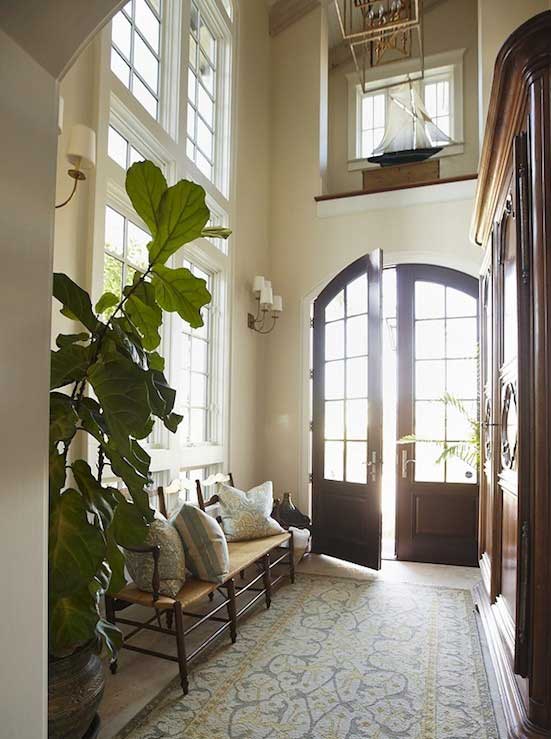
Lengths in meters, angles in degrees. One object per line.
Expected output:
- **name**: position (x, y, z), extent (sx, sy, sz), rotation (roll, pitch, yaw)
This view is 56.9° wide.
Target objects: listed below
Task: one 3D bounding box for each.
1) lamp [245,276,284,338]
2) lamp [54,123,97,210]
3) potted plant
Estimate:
- **lamp**: position (-0.112, -0.623, 5.013), extent (0.229, 0.544, 0.311), rotation (0, -12, 17)
- **lamp**: position (-0.853, -0.844, 2.111), extent (0.171, 0.347, 0.101), rotation (8, -4, -38)
- **potted plant**: position (-0.556, 0.318, 1.839), extent (0.517, 1.814, 1.055), rotation (3, -7, -25)
